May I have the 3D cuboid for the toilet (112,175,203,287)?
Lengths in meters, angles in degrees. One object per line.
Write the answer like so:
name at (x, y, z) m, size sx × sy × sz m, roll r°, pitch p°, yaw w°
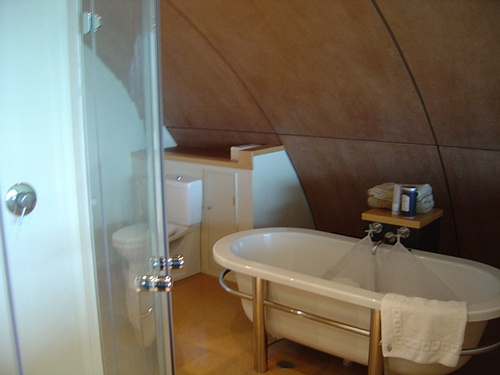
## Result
toilet at (-0.860, 0.418, 4.136) m, size 0.735 × 0.865 × 0.388 m, roll -18°, pitch 26°, yaw -38°

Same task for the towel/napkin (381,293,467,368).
towel/napkin at (0.940, 0.685, 2.292) m, size 0.347 × 0.400 × 0.129 m, roll 8°, pitch 6°, yaw 22°

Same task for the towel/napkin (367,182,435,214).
towel/napkin at (1.145, 0.063, 3.193) m, size 0.477 × 0.219 × 0.289 m, roll 5°, pitch 15°, yaw 24°
